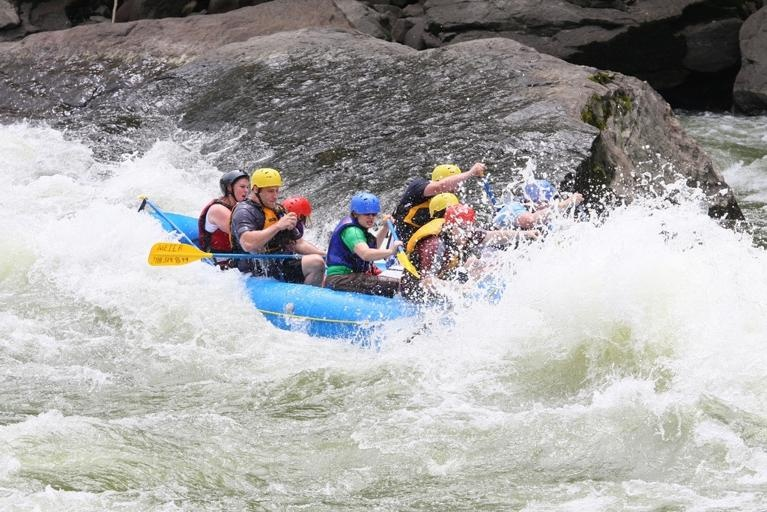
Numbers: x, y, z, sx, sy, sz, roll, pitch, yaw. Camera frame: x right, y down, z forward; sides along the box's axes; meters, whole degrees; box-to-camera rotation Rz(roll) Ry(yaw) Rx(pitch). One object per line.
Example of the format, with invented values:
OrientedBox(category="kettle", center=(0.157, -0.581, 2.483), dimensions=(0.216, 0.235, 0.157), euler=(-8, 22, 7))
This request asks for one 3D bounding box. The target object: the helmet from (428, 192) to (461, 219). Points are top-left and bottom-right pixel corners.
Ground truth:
OrientedBox(category="helmet", center=(0.702, -0.609, 12.085), dimensions=(0.267, 0.243, 0.345), euler=(-33, 6, -40))

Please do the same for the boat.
OrientedBox(category="boat", center=(-1.573, 0.479, 12.908), dimensions=(4.610, 0.849, 1.523), euler=(15, 21, 23))

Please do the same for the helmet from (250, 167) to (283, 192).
OrientedBox(category="helmet", center=(-1.498, -0.965, 12.752), dimensions=(0.269, 0.172, 0.342), euler=(-4, 11, -42))

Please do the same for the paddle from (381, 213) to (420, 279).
OrientedBox(category="paddle", center=(0.168, -0.125, 12.254), dimensions=(0.210, 0.176, 1.179), euler=(-34, 37, -2))

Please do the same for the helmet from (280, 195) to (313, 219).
OrientedBox(category="helmet", center=(-1.096, -0.617, 12.904), dimensions=(0.352, 0.163, 0.233), euler=(-7, 16, -22))

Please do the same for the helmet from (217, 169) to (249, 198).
OrientedBox(category="helmet", center=(-1.928, -0.926, 13.126), dimensions=(0.339, 0.331, 0.301), euler=(22, 14, 24))

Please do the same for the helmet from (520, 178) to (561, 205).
OrientedBox(category="helmet", center=(1.932, -0.793, 12.679), dimensions=(0.416, 0.247, 0.302), euler=(-3, 1, 11))
